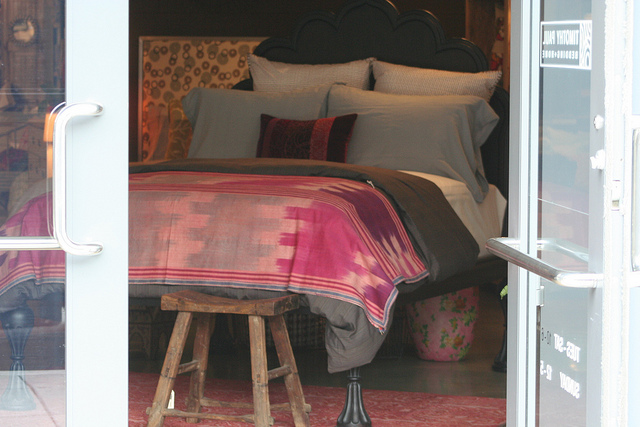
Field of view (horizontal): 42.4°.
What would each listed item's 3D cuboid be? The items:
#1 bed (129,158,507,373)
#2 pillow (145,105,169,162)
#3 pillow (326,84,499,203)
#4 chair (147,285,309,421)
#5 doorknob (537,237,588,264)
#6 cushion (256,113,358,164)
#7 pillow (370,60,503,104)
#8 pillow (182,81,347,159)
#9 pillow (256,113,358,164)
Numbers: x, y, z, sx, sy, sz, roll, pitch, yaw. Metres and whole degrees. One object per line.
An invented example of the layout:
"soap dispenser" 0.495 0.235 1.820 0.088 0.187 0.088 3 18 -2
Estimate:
"bed" -0.187 0.084 4.032 1.901 0.741 1.688 2 13 22
"pillow" -1.131 -0.567 5.763 0.155 0.407 0.781 -2 7 -12
"pillow" 0.517 -0.450 4.508 0.688 0.679 0.204 5 -32 8
"chair" -0.411 0.590 3.409 0.661 0.631 0.622 1 1 6
"doorknob" 0.579 0.081 1.977 0.151 0.044 0.175 2 10 28
"cushion" -0.080 -0.424 4.549 0.555 0.263 0.243 1 7 5
"pillow" 0.640 -0.793 4.876 0.734 0.137 0.364 9 -12 7
"pillow" -0.363 -0.550 4.792 0.731 0.560 0.182 1 -11 10
"pillow" -0.096 -0.392 4.570 0.564 0.324 0.153 5 -8 20
